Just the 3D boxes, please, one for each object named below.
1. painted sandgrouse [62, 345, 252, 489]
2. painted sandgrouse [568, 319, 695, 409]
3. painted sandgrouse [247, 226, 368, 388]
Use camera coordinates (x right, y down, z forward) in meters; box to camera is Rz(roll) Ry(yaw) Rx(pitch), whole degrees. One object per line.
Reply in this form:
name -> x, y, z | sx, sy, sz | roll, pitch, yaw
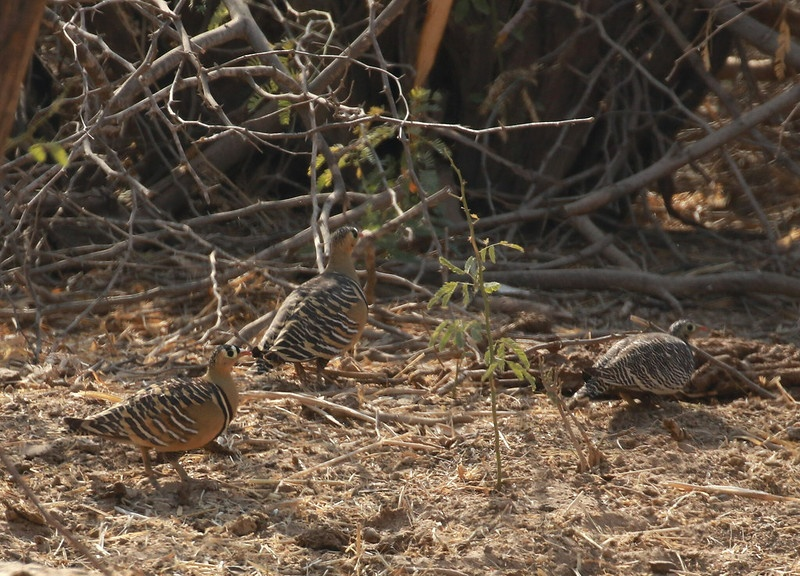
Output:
painted sandgrouse -> -1.520, 0.844, 6.437 | 1.211, 0.779, 0.543 | -8, 13, -26
painted sandgrouse -> 1.741, 0.568, 7.298 | 1.183, 0.566, 0.576 | -7, 14, -24
painted sandgrouse -> -0.592, 0.221, 7.530 | 0.629, 1.059, 1.101 | 18, 27, 9
